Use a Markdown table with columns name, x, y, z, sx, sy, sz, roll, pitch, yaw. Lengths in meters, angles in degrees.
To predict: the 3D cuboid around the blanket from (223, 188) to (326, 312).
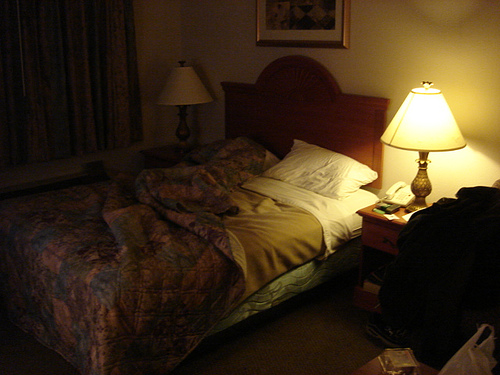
| name | x | y | z | sx | sy | sz | roll | pitch | yaw |
| --- | --- | --- | --- | --- | --- | --- | --- | --- | --- |
| blanket | 0.047 | 0.384 | 2.955 | 0.691 | 0.572 | 0.878 | -7 | 18 | -32 |

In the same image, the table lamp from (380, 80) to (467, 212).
| name | x | y | z | sx | sy | sz | roll | pitch | yaw |
| --- | --- | --- | --- | --- | --- | --- | --- | --- | --- |
| table lamp | 1.227 | -0.266 | 2.951 | 0.625 | 0.799 | 0.596 | 4 | 14 | 19 |

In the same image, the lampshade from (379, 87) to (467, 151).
| name | x | y | z | sx | sy | sz | roll | pitch | yaw |
| --- | --- | --- | --- | --- | --- | --- | --- | --- | --- |
| lampshade | 1.133 | -0.431 | 2.754 | 0.520 | 0.361 | 0.275 | 4 | 20 | 12 |

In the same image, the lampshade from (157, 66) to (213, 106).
| name | x | y | z | sx | sy | sz | roll | pitch | yaw |
| --- | --- | --- | --- | --- | --- | --- | --- | --- | --- |
| lampshade | -0.665 | -1.059 | 4.471 | 0.543 | 0.385 | 0.511 | -9 | 21 | -33 |

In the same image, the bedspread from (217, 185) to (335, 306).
| name | x | y | z | sx | sy | sz | roll | pitch | yaw |
| --- | --- | --- | --- | --- | --- | --- | --- | --- | --- |
| bedspread | 0.205 | 0.370 | 2.888 | 0.773 | 0.166 | 0.743 | -25 | 36 | -39 |

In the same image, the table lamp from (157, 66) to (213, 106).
| name | x | y | z | sx | sy | sz | roll | pitch | yaw |
| --- | --- | --- | --- | --- | --- | --- | --- | --- | --- |
| table lamp | -0.691 | -1.070 | 4.439 | 0.542 | 0.384 | 0.511 | -9 | 21 | -33 |
